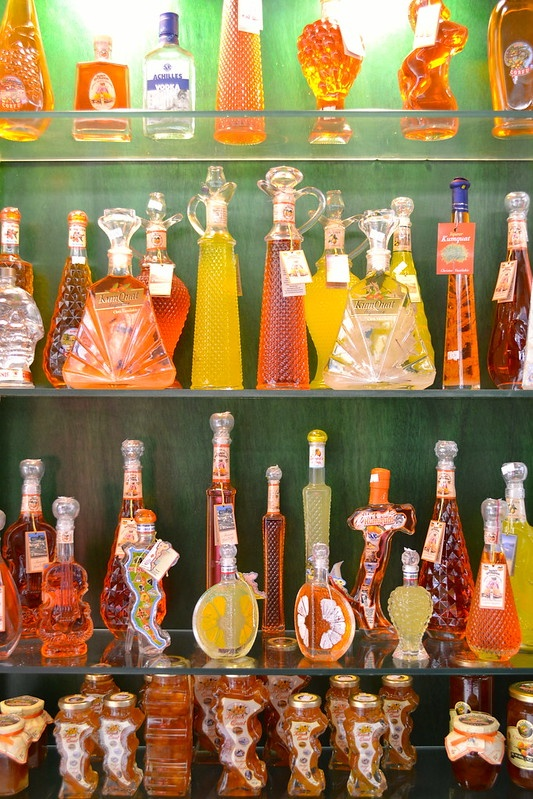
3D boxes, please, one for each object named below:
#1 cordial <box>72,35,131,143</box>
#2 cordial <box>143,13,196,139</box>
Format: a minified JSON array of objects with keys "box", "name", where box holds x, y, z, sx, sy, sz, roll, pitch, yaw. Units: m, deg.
[{"box":[-0.277,-0.528,1.189,0.096,0.180,0.127,-3,0,-12],"name":"cordial"},{"box":[-0.156,-0.524,1.166,0.089,0.204,0.049,1,3,2],"name":"cordial"}]
